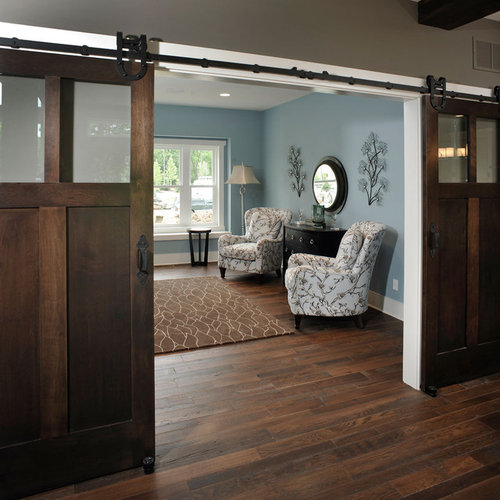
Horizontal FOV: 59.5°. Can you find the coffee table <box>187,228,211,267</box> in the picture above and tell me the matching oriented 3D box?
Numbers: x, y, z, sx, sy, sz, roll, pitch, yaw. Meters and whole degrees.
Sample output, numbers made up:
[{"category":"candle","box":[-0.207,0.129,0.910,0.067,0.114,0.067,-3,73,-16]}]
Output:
[{"category":"coffee table","box":[-0.814,-0.033,6.904,0.477,0.645,0.492,0,2,-3]}]

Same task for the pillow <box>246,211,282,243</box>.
[{"category":"pillow","box":[0.181,-0.314,6.085,0.412,0.412,0.124,14,1,44]}]

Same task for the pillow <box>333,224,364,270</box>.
[{"category":"pillow","box":[0.892,-0.002,3.945,0.125,0.402,0.191,24,-5,-21]}]

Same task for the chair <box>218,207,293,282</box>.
[{"category":"chair","box":[0.088,-0.093,6.013,0.894,0.972,0.816,0,4,-42]}]

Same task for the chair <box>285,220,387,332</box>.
[{"category":"chair","box":[0.772,0.215,4.131,0.871,0.966,0.729,1,8,2]}]

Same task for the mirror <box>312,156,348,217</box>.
[{"category":"mirror","box":[0.969,-0.741,5.199,0.071,0.724,0.694,-4,9,-15]}]
